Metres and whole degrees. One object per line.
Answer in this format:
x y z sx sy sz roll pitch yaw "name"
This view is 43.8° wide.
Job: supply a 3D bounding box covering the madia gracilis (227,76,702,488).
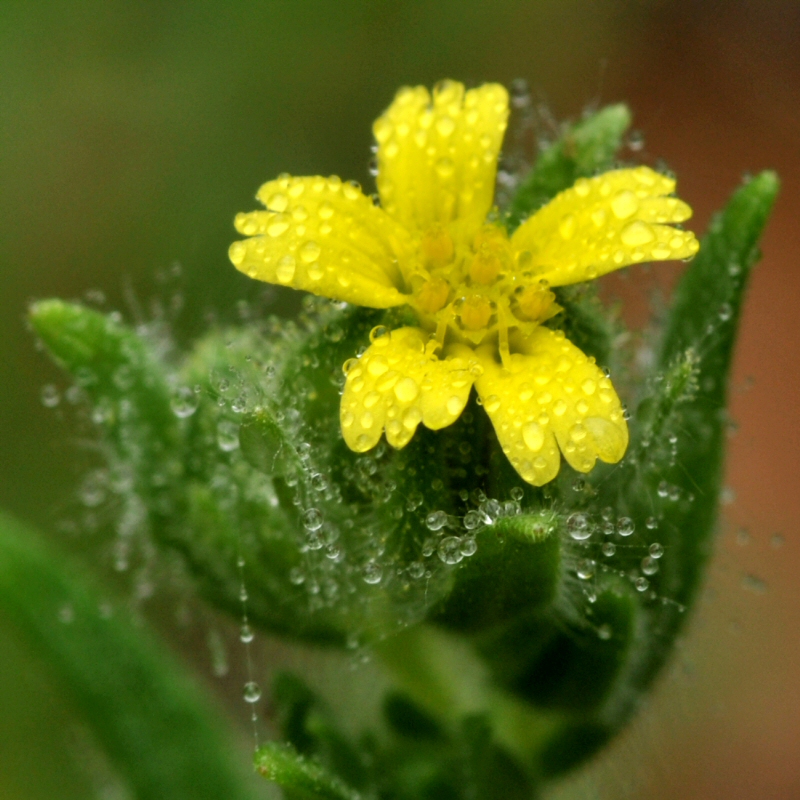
0.048 -0.076 0.718 0.267 0.088 0.293 -35 76 -8 "madia gracilis"
